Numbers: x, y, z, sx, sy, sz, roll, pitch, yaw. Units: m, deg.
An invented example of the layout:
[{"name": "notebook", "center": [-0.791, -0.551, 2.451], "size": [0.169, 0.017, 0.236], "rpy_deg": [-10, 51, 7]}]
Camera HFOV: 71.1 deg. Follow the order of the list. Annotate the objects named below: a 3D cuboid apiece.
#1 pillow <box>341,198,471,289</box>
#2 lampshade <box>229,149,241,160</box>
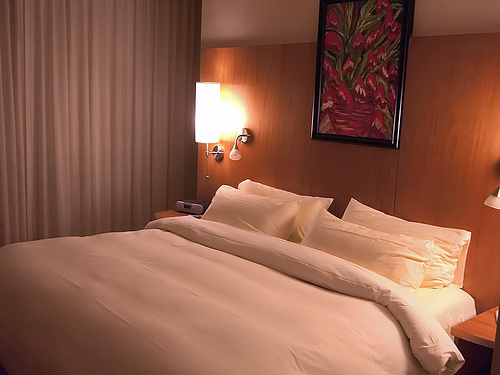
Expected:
[{"name": "pillow", "center": [1.079, 0.419, 2.526], "size": [0.840, 0.353, 0.398], "rpy_deg": [15, 28, 27]}, {"name": "lampshade", "center": [-0.154, -0.344, 3.608], "size": [0.112, 0.096, 0.086], "rpy_deg": [1, 11, -4]}]
